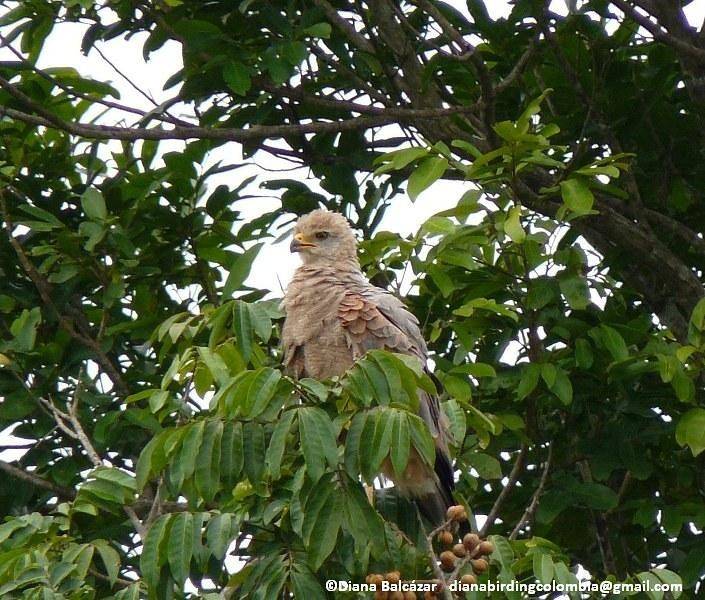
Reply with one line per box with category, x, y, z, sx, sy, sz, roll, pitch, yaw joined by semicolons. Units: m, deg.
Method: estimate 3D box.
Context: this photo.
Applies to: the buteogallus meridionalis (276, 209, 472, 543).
buteogallus meridionalis;0.076;0.216;5.064;0.923;2.001;0.650;7;-40;-4
